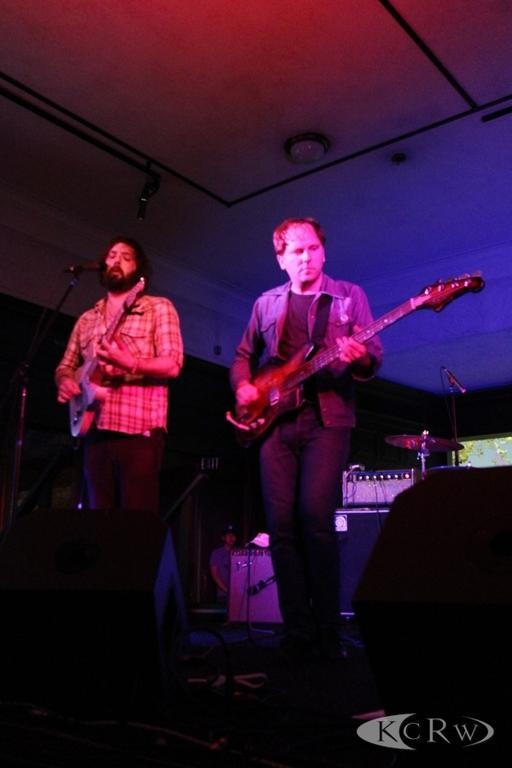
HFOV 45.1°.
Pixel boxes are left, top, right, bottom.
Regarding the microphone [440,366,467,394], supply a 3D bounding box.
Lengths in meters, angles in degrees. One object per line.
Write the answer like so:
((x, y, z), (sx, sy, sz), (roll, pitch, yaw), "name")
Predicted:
((2.439, -0.070, 7.541), (0.195, 0.297, 1.167), (-14, -9, 15), "microphone")

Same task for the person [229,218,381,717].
((0.210, 0.068, 2.296), (0.553, 1.680, 0.957), (2, -7, -6), "person")

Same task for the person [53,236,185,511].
((-0.530, -0.121, 2.468), (0.493, 1.212, 0.770), (4, -8, -19), "person")

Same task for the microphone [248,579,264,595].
((0.007, 1.330, 4.034), (0.048, 0.044, 0.166), (-7, -3, 38), "microphone")

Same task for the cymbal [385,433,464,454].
((1.755, 0.623, 6.496), (0.479, 0.155, 0.488), (-13, -23, 38), "cymbal")

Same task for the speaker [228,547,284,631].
((-0.016, 1.308, 4.179), (0.423, 0.399, 0.252), (6, -14, -19), "speaker")

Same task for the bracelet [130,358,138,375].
((-0.461, -0.072, 2.328), (0.026, 0.049, 0.026), (3, -7, -12), "bracelet")
